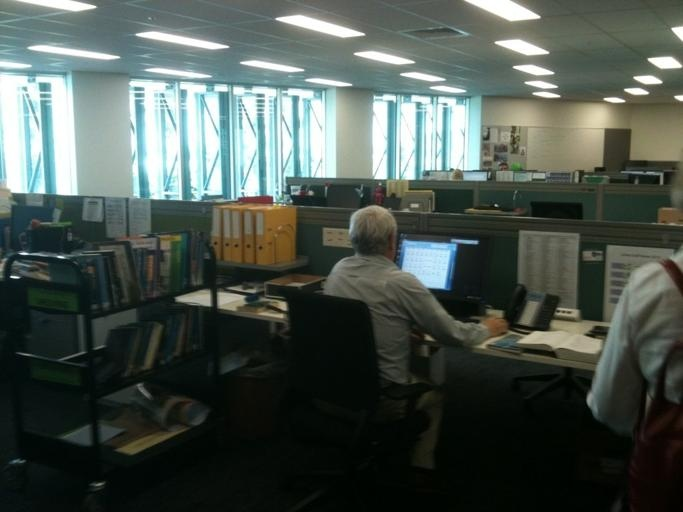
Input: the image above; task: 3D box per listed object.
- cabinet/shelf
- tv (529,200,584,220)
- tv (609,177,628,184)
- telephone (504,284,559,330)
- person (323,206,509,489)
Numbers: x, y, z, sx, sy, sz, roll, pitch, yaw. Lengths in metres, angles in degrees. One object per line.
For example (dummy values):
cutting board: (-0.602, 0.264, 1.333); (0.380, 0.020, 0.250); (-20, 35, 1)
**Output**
cabinet/shelf: (-1.320, 0.475, 2.927); (1.096, 1.183, 0.874); (5, 15, 29)
tv: (2.112, -0.461, 5.306); (0.197, 0.146, 0.513); (-13, 17, -39)
tv: (3.443, -0.942, 6.739); (0.206, 0.079, 0.281); (0, 4, 2)
telephone: (0.921, 0.243, 2.629); (0.220, 0.187, 0.167); (5, 15, 29)
person: (0.334, 0.466, 2.625); (0.917, 1.299, 0.823); (0, 0, 17)
